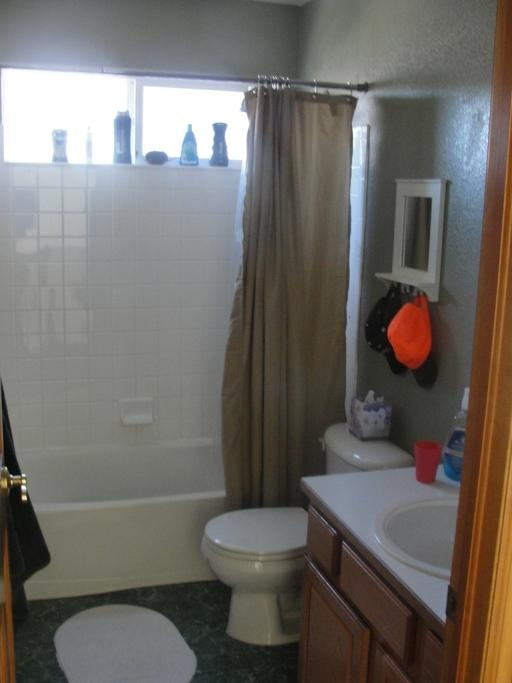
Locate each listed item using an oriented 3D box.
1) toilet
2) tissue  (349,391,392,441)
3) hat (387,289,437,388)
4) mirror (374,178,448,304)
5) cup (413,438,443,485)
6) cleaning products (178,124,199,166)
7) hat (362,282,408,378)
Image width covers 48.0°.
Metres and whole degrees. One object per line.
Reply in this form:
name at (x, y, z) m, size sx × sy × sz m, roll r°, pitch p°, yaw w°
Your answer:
toilet at (0.092, 0.761, 2.230) m, size 0.488 × 0.736 × 0.453 m, roll -3°, pitch 15°, yaw -11°
tissue  at (0.441, 0.272, 2.332) m, size 0.136 × 0.293 × 0.160 m, roll 0°, pitch 4°, yaw -12°
hat at (0.557, 0.004, 2.016) m, size 0.176 × 0.346 × 0.162 m, roll -5°, pitch 8°, yaw -40°
mirror at (0.558, -0.356, 2.040) m, size 0.063 × 0.404 × 0.362 m, roll 1°, pitch 11°, yaw -7°
cup at (0.498, 0.350, 1.724) m, size 0.078 × 0.136 × 0.093 m, roll -3°, pitch 9°, yaw -17°
cleaning products at (-0.354, -1.034, 3.039) m, size 0.093 × 0.216 × 0.090 m, roll -1°, pitch 6°, yaw -14°
hat at (0.496, -0.046, 2.219) m, size 0.077 × 0.329 × 0.189 m, roll -1°, pitch 16°, yaw 17°
